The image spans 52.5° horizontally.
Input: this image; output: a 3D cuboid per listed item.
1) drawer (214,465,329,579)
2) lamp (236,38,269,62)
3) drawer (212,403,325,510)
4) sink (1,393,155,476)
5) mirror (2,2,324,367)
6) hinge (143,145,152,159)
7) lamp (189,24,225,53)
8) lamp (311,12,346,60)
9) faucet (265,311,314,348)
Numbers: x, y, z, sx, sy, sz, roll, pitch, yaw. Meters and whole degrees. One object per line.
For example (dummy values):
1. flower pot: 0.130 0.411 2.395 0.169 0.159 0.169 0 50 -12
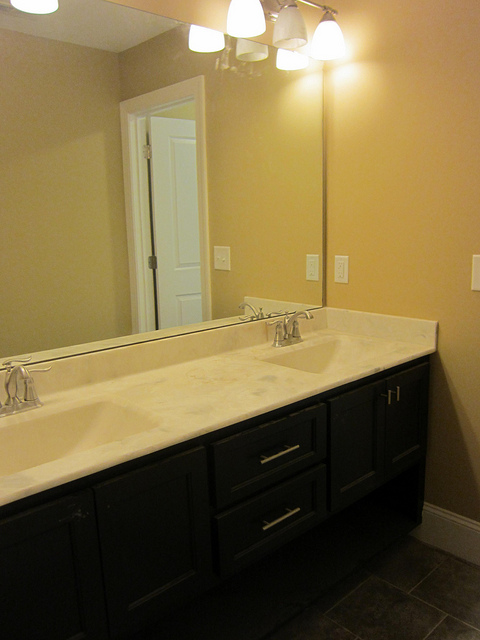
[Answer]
1. drawer: 0.037 0.530 1.433 0.370 0.198 0.261 -10 11 -35
2. lamp: 0.040 -0.996 1.810 0.093 0.108 0.097 -2 12 -4
3. drawer: 0.046 0.325 1.386 0.362 0.176 0.233 -15 23 -29
4. sink: -0.457 0.284 1.239 0.220 0.093 0.189 -13 21 -37
5. mirror: -0.261 -0.443 1.573 1.336 0.990 0.052 -8 12 -43
6. hinge: -0.288 -0.520 1.512 0.006 0.042 0.034 10 17 44
7. lamp: -0.119 -0.943 1.648 0.094 0.091 0.097 -3 52 2
8. lamp: 0.337 -1.078 1.874 0.150 0.172 0.152 1 21 12
9. faucet: 0.203 0.006 1.977 0.170 0.131 0.135 -8 12 -37
